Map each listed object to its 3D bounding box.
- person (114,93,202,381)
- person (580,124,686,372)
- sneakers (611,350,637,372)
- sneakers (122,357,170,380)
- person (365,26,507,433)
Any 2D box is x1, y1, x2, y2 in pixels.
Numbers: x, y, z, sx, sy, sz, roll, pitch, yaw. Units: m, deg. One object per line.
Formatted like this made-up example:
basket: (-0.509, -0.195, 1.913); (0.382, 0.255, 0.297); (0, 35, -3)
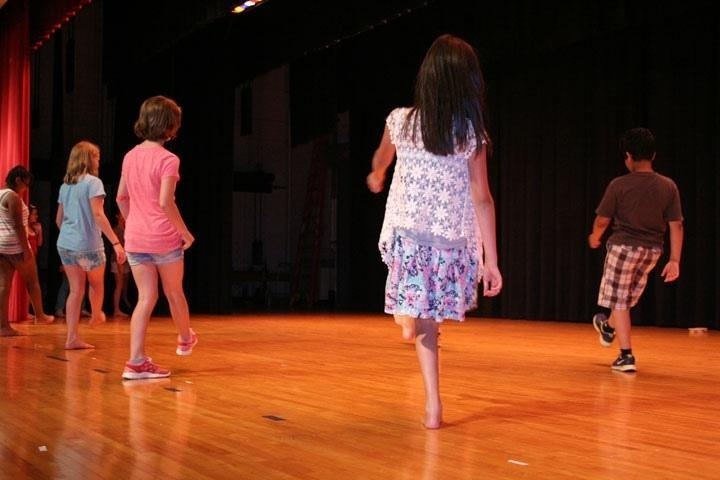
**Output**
person: (-1.489, -0.029, 4.554); (0.566, 2.061, 0.543); (4, -5, -24)
person: (2.262, 0.061, 5.102); (0.684, 1.976, 0.495); (0, -5, 26)
sneakers: (2.094, 0.949, 4.931); (0.100, 0.123, 0.250); (1, -2, 4)
sneakers: (-1.547, 0.935, 4.555); (0.376, 0.189, 0.139); (3, -5, -20)
person: (0.420, -0.063, 3.467); (0.729, 2.192, 0.371); (1, -4, 12)
